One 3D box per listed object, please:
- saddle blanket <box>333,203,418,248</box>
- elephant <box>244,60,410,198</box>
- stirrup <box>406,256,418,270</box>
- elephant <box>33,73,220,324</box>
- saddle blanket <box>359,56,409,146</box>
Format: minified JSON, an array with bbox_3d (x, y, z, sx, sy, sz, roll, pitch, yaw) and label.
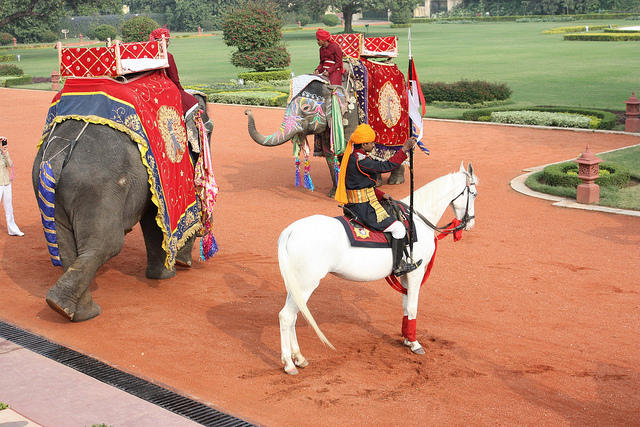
[{"bbox_3d":[0.822,0.264,11.865,1.844,0.872,0.479,-5,7,-19],"label":"saddle blanket"},{"bbox_3d":[0.448,-2.325,18.926,5.851,3.613,1.706,-16,24,-40],"label":"elephant"},{"bbox_3d":[1.543,0.827,11.734,0.044,0.161,0.170,-39,-1,-3],"label":"stirrup"},{"bbox_3d":[-4.314,-1.122,14.239,2.889,3.635,5.323,13,25,16],"label":"elephant"},{"bbox_3d":[1.826,-2.904,19.040,0.367,2.585,2.282,2,5,38],"label":"saddle blanket"}]
